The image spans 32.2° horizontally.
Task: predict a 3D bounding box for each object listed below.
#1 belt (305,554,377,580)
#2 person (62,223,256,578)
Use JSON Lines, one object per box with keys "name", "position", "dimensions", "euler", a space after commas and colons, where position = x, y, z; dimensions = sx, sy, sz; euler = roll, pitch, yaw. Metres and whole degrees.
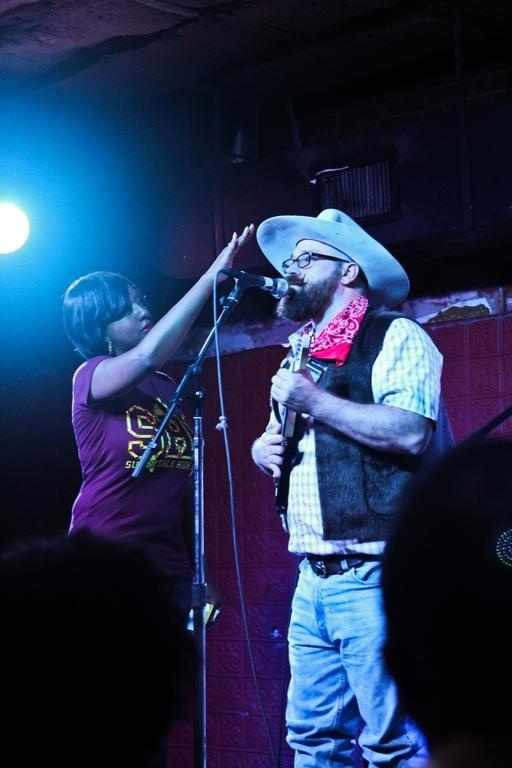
{"name": "belt", "position": [0.189, 0.420, 2.070], "dimensions": [0.099, 0.030, 0.079], "euler": [-3, -19, -15]}
{"name": "person", "position": [-0.336, 0.066, 2.678], "dimensions": [0.516, 0.945, 0.606], "euler": [-6, 3, -17]}
